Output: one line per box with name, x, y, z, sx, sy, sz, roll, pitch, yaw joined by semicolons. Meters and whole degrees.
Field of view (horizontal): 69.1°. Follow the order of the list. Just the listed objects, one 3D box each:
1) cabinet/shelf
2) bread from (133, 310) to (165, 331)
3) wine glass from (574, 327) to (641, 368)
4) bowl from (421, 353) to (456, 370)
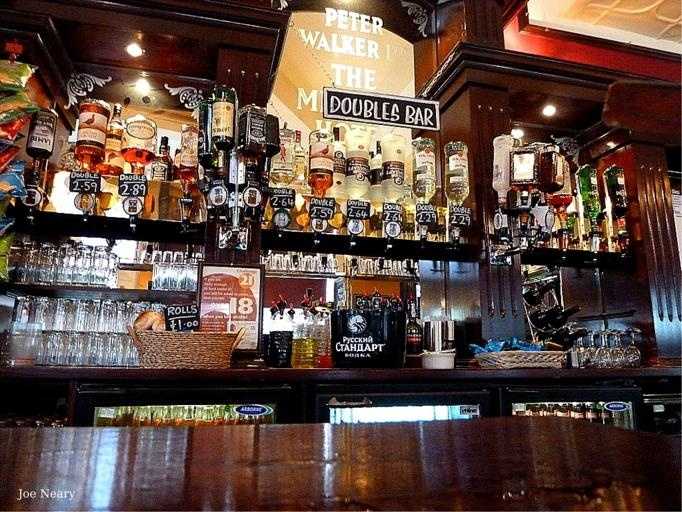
cabinet/shelf;-0.081;-0.174;2.981;3.418;1.232;0.655;2;-8;-11
bread;-0.883;0.304;2.272;0.111;0.065;0.093;5;-16;47
wine glass;1.699;0.581;3.124;0.256;0.150;0.255;7;-16;-32
bowl;0.493;0.524;2.513;0.159;0.078;0.082;0;-8;9
